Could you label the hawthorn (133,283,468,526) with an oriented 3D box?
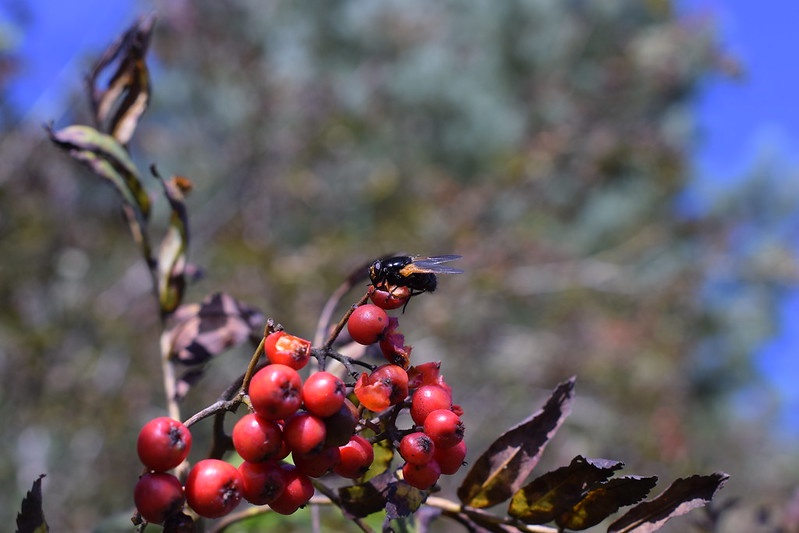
[{"bbox_3d":[-0.268,0.494,3.066,0.629,0.884,0.370,-18,87,29],"label":"hawthorn"}]
